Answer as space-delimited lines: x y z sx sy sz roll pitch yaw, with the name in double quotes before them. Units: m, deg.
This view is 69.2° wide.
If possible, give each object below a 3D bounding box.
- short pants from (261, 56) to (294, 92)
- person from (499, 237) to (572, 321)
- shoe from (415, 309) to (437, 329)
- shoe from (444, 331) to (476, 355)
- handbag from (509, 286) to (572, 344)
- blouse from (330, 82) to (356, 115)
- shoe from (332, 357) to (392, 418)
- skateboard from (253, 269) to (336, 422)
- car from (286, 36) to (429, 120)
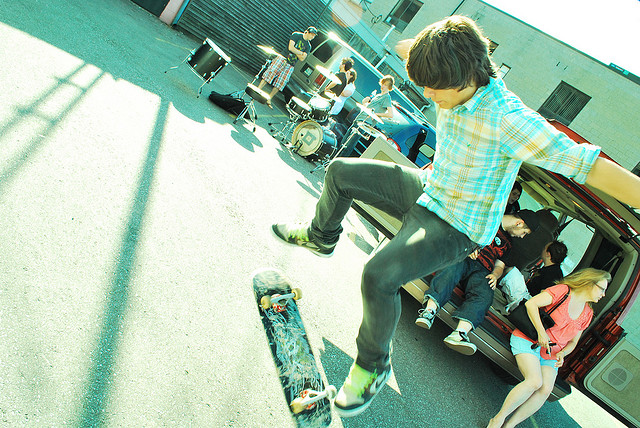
"short pants" -0.855 -2.935 9.576 0.478 0.661 0.231 28 11 -37
"person" 2.923 0.711 5.873 0.836 0.675 0.383 57 -17 20
"shoe" 1.122 1.096 4.899 0.178 0.240 0.179 37 10 11
"shoe" 1.431 1.334 4.750 0.378 0.171 0.159 36 15 -53
"handbag" 2.452 1.051 5.031 0.253 0.637 0.433 35 14 17
"blouse" 0.447 -2.257 9.081 0.166 0.660 0.663 34 10 -2
"shoe" 0.376 1.420 3.804 0.372 0.563 0.189 32 10 -20
"skateboard" -0.295 1.177 4.112 0.431 0.220 1.606 0 59 -35
"car" 0.731 -3.247 11.290 2.924 1.512 1.438 -4 31 -45
